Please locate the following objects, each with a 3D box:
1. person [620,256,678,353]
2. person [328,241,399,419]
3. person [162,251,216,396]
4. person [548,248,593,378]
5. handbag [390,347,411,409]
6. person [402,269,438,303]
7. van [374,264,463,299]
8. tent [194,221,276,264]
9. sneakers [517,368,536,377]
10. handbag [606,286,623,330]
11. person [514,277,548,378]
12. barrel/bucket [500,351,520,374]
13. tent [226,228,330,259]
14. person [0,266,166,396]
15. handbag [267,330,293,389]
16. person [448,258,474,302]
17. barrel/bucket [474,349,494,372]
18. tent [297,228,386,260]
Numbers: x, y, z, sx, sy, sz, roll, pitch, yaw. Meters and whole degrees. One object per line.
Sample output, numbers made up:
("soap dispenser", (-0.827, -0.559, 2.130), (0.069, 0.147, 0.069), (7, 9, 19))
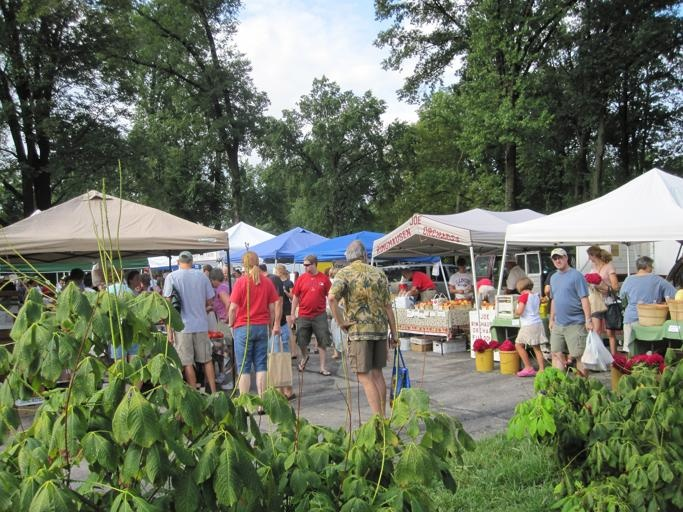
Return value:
("person", (4.642, 0.742, 10.680), (0.746, 1.522, 2.067), (-3, -3, 24))
("person", (0.260, 0.844, 8.219), (0.793, 2.099, 0.789), (-2, -2, 2))
("person", (-2.035, 0.948, 9.525), (0.601, 2.021, 0.589), (-3, -7, -25))
("person", (3.097, 0.732, 9.527), (0.649, 1.704, 0.388), (-3, -3, 35))
("handbag", (0.687, 1.384, 8.073), (0.264, 0.640, 0.178), (3, 12, 43))
("person", (1.720, 0.677, 15.356), (0.657, 0.737, 1.339), (-3, -3, 8))
("van", (2.428, 0.688, 23.112), (1.750, 1.160, 1.228), (-3, 1, -12))
("tent", (-3.109, -0.422, 21.411), (2.020, 1.113, 2.189), (0, -3, -14))
("sneakers", (2.981, 1.880, 11.304), (0.320, 0.172, 0.160), (0, -1, 0))
("handbag", (4.539, 0.961, 11.706), (0.235, 0.803, 0.516), (-7, -20, 25))
("person", (3.043, 1.144, 11.329), (0.484, 1.588, 1.314), (-2, -3, 14))
("barrel/bucket", (2.746, 1.754, 11.493), (0.297, 0.321, 0.337), (0, -9, -1))
("tent", (-1.651, -0.303, 20.568), (1.430, 0.587, 1.540), (-8, 8, -20))
("person", (-1.602, 0.551, 4.475), (0.826, 0.583, 0.802), (1, 4, -42))
("handbag", (-0.778, 1.240, 8.720), (0.296, 0.750, 0.203), (-1, 26, 2))
("person", (2.616, 0.500, 15.424), (0.500, 0.930, 2.035), (-2, -3, 9))
("barrel/bucket", (2.424, 1.787, 11.978), (0.304, 0.281, 0.336), (0, -7, -2))
("tent", (-0.109, -0.333, 19.007), (1.439, 0.435, 1.324), (-5, -1, -43))
